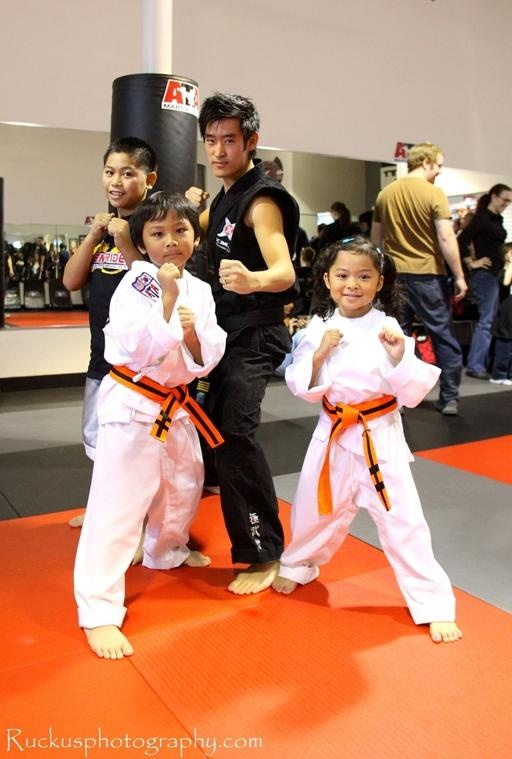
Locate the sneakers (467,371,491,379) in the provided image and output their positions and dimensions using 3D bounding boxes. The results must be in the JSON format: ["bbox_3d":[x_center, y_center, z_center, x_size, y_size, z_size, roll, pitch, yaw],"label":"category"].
[{"bbox_3d":[2.101,-0.044,5.557,0.079,0.086,0.208,-2,5,-27],"label":"sneakers"}]
